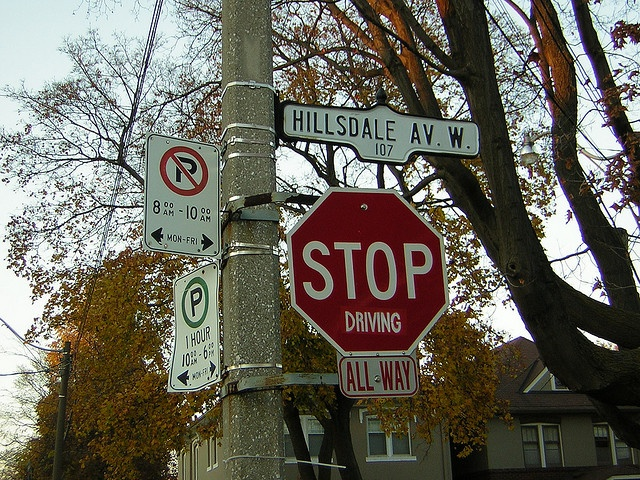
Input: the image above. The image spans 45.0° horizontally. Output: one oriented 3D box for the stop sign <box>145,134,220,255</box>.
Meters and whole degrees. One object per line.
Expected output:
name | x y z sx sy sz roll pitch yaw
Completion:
stop sign | -1.495 -0.502 8.407 0.841 0.029 1.612 6 -51 -6
